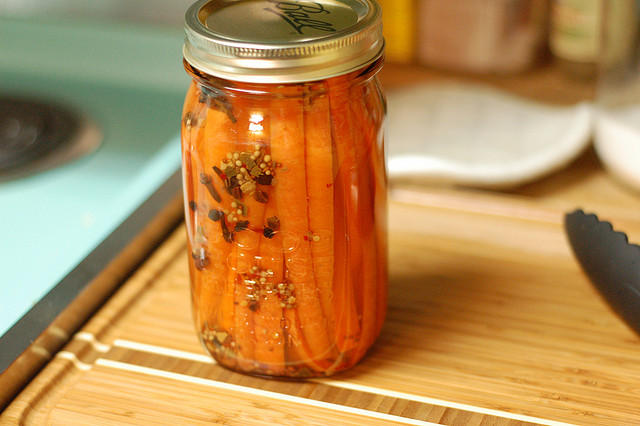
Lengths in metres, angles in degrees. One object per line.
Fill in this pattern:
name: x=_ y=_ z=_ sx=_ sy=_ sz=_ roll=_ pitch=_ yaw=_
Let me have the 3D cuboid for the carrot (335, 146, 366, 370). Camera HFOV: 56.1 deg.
carrot: x=0.037 y=0.067 z=0.674 sx=0.034 sy=0.219 sz=0.027 roll=1 pitch=11 yaw=14

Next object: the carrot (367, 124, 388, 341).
carrot: x=0.061 y=0.020 z=0.676 sx=0.025 sy=0.231 sz=0.024 roll=1 pitch=10 yaw=8

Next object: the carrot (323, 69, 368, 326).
carrot: x=0.027 y=-0.016 z=0.631 sx=0.034 sy=0.260 sz=0.031 roll=-13 pitch=19 yaw=-37

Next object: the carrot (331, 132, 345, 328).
carrot: x=0.011 y=0.024 z=0.634 sx=0.018 sy=0.156 sz=0.016 roll=-4 pitch=17 yaw=-19

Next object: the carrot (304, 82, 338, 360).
carrot: x=0.004 y=-0.003 z=0.621 sx=0.028 sy=0.249 sz=0.027 roll=4 pitch=15 yaw=21
